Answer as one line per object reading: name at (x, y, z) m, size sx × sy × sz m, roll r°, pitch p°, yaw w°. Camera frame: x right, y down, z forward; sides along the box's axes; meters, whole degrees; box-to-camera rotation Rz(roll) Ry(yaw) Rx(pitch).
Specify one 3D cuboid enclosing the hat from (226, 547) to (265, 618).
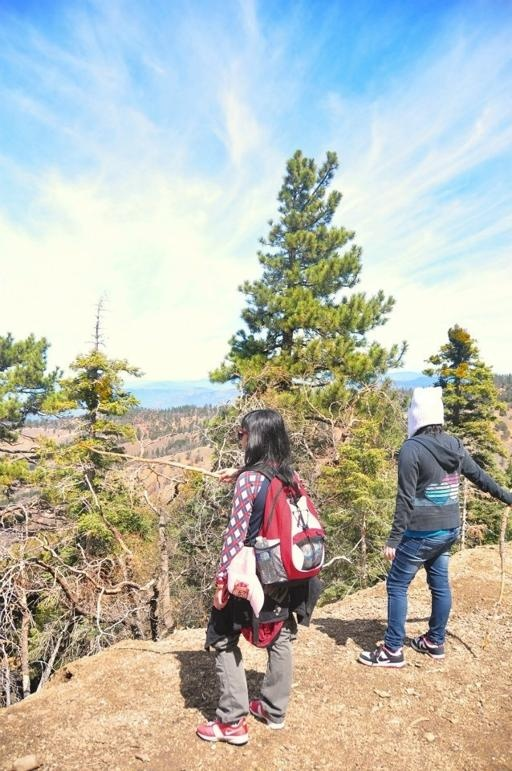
hat at (-0.022, 1.256, 3.537) m, size 0.140 × 0.401 × 0.279 m, roll 10°, pitch -10°, yaw -34°

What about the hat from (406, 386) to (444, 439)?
hat at (1.401, 0.193, 4.568) m, size 0.397 × 0.543 × 0.360 m, roll 1°, pitch 8°, yaw 21°

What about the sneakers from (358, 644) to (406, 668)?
sneakers at (1.058, 2.277, 4.693) m, size 0.424 × 0.216 × 0.168 m, roll -3°, pitch -15°, yaw 21°

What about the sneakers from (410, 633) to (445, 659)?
sneakers at (1.472, 2.242, 4.782) m, size 0.124 × 0.159 × 0.313 m, roll 8°, pitch -5°, yaw -29°

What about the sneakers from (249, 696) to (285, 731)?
sneakers at (0.051, 2.378, 4.062) m, size 0.125 × 0.159 × 0.324 m, roll -1°, pitch 15°, yaw -45°

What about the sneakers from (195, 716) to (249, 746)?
sneakers at (-0.219, 2.403, 3.874) m, size 0.409 × 0.206 × 0.159 m, roll 1°, pitch -21°, yaw 14°

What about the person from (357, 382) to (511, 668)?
person at (1.386, 1.181, 4.608) m, size 1.088 × 2.309 × 0.660 m, roll -5°, pitch -1°, yaw -12°
